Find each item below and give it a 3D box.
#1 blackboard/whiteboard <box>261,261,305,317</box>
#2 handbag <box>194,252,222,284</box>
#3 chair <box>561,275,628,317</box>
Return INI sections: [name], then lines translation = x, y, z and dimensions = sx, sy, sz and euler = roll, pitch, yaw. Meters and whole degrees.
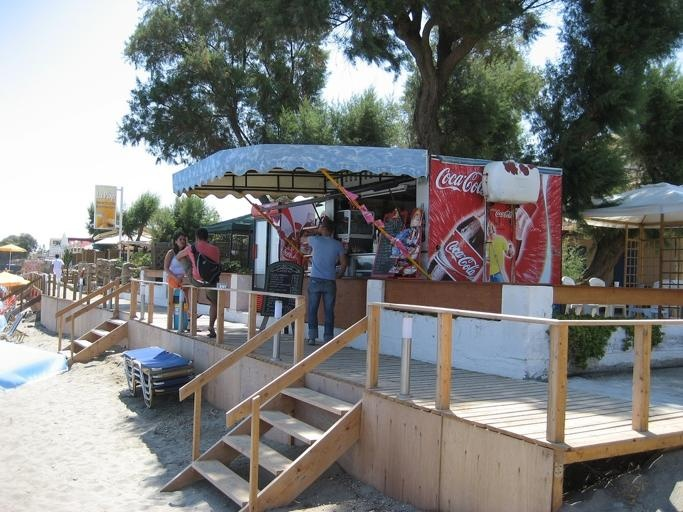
[blackboard/whiteboard]
translation = -1.235, 0.656, 11.875
dimensions = 0.583, 1.074, 1.066
euler = -4, 3, -44
[handbag]
translation = -2.742, 0.290, 12.119
dimensions = 0.538, 0.600, 0.423
euler = 2, 4, 9
[chair]
translation = 4.711, 0.773, 11.053
dimensions = 0.618, 0.771, 0.747
euler = 0, 5, -26
